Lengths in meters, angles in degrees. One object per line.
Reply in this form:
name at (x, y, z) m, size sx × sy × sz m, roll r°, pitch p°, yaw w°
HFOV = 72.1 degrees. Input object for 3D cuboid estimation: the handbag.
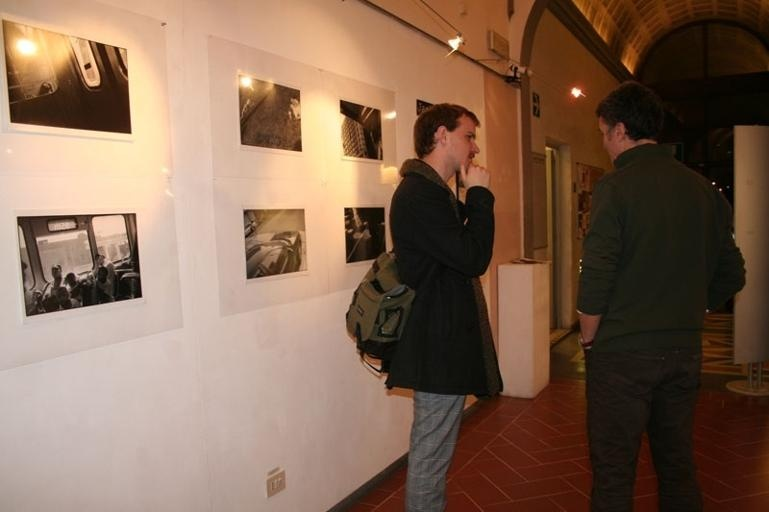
handbag at (-0.015, 0.261, 2.773) m, size 0.283 × 0.516 × 0.520 m, roll 12°, pitch 18°, yaw -11°

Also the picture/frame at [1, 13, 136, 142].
picture/frame at (-1.365, -0.772, 2.242) m, size 0.608 × 0.511 × 0.021 m, roll -5°, pitch 6°, yaw -41°
